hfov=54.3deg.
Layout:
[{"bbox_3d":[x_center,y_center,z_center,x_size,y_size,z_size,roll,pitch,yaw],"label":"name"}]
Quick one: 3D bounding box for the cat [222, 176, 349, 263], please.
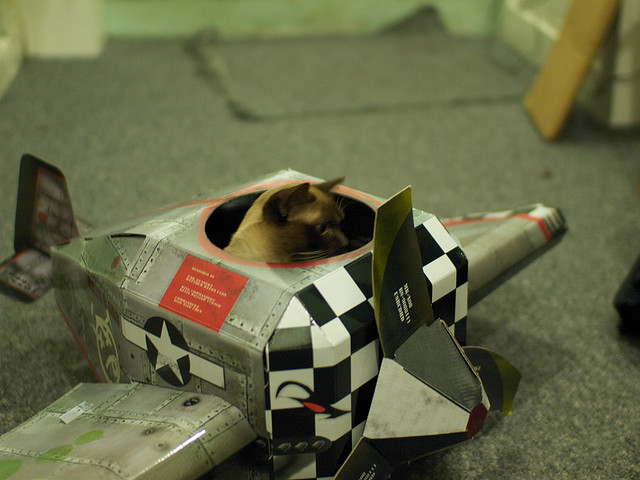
[{"bbox_3d":[-0.096,-0.045,1.484,0.265,0.195,0.182,13,19,16],"label":"cat"}]
